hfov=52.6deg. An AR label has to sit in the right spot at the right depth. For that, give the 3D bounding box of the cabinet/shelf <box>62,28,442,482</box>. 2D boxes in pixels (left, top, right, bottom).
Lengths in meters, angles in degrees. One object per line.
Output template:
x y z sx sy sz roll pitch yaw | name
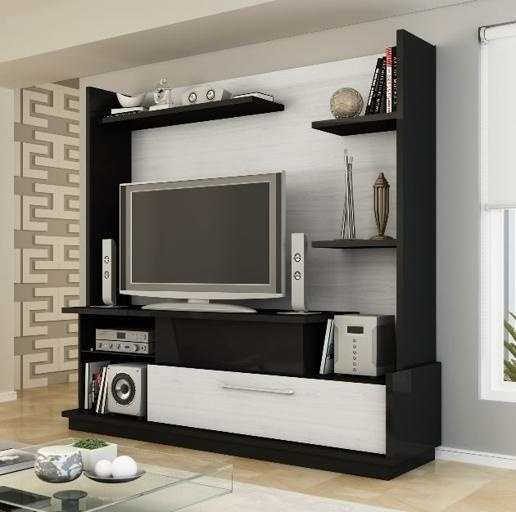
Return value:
0.015 -0.016 2.935 2.619 2.502 0.705 -2 -3 33 | cabinet/shelf

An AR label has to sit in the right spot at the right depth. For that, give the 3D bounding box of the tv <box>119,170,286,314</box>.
-0.309 -0.076 3.172 0.923 0.661 0.138 0 -2 26 | tv

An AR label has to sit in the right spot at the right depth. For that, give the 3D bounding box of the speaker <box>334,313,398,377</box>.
0.505 0.409 2.538 0.280 0.308 0.299 -2 -4 30 | speaker

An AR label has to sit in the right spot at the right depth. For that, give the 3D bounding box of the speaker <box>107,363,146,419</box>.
-0.791 0.836 3.322 0.280 0.291 0.227 -7 -5 21 | speaker

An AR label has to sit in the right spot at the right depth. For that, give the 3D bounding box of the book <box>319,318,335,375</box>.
0.373 0.480 2.712 0.028 0.273 0.158 7 -10 16 | book
